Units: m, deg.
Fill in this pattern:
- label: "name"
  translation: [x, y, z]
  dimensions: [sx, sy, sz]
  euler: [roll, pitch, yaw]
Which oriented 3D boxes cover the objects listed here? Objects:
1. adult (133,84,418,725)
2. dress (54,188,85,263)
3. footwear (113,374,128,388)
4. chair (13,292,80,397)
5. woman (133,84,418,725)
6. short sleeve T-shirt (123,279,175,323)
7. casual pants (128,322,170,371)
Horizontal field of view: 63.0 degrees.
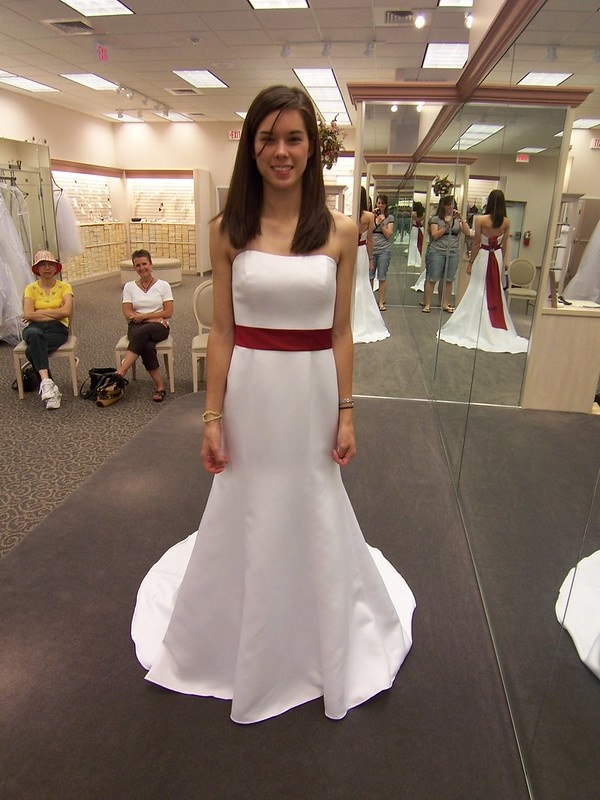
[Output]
- label: "adult"
  translation: [-0.108, 0.011, 1.499]
  dimensions: [0.755, 1.605, 0.838]
  euler: [10, 19, 19]
- label: "dress"
  translation: [-4.759, -3.608, 9.971]
  dimensions: [0.436, 1.415, 0.987]
  euler: [-4, 13, -24]
- label: "footwear"
  translation: [-1.694, -0.200, 4.585]
  dimensions: [0.061, 0.105, 0.137]
  euler: [-52, 43, -9]
- label: "chair"
  translation: [-2.477, -0.565, 4.785]
  dimensions: [0.589, 0.993, 0.620]
  euler: [3, 15, 0]
- label: "woman"
  translation: [-0.050, -0.001, 1.504]
  dimensions: [0.809, 1.592, 0.816]
  euler: [-12, 20, -27]
- label: "short sleeve T-shirt"
  translation: [-1.511, -1.044, 4.942]
  dimensions: [0.554, 0.535, 0.324]
  euler: [-4, 16, -12]
- label: "casual pants"
  translation: [-1.507, -0.557, 4.718]
  dimensions: [0.286, 0.522, 0.231]
  euler: [1, 0, -8]
